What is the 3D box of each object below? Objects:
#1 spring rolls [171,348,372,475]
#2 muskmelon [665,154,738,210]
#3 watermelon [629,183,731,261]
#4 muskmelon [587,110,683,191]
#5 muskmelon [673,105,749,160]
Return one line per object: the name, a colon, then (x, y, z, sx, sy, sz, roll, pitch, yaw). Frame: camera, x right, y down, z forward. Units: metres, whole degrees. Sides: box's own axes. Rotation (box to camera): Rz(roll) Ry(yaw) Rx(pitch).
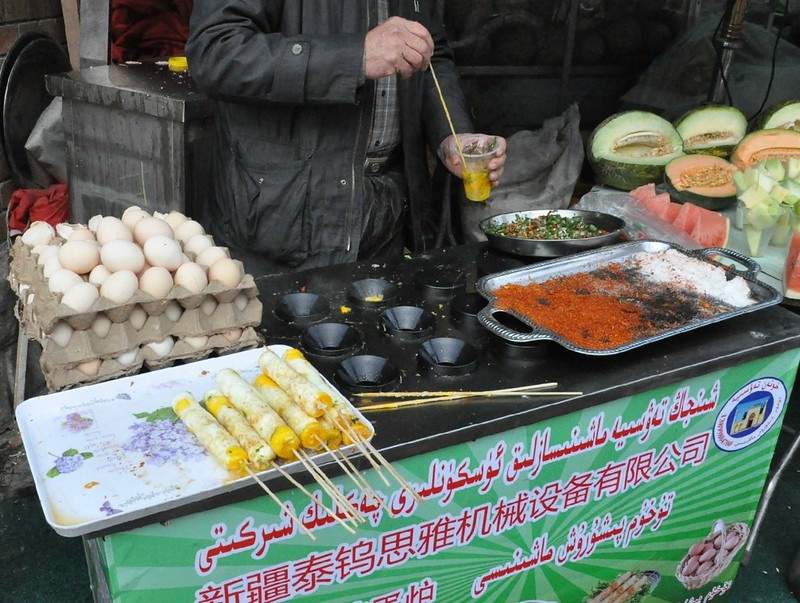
spring rolls: (-0.351, 0.277, 1.777, 0.319, 0.108, 0.318, -1, 29, 1)
muskmelon: (1.403, -0.563, 3.304, 0.277, 0.268, 0.215, 10, 21, 11)
watermelon: (1.243, -0.356, 3.112, 0.240, 0.295, 0.353, -5, 19, -22)
muskmelon: (1.180, -0.744, 3.549, 0.449, 0.297, 0.284, 9, 40, 16)
muskmelon: (1.593, -0.864, 3.677, 0.337, 0.122, 0.301, 22, 77, 23)
